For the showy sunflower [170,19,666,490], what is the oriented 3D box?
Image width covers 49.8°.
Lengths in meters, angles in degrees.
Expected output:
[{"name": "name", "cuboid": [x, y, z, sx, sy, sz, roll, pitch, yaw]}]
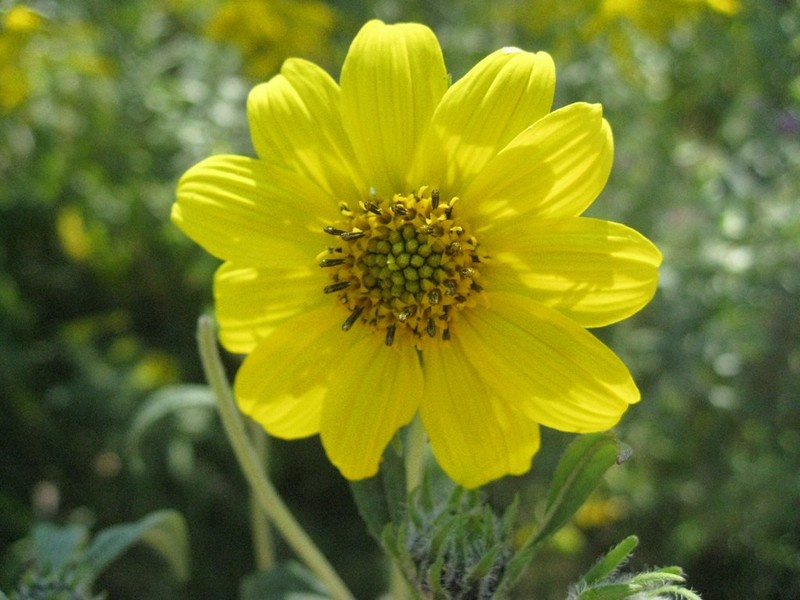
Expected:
[{"name": "showy sunflower", "cuboid": [-0.023, -0.152, 1.980, 0.997, 0.354, 1.062, -32, -33, 23]}]
